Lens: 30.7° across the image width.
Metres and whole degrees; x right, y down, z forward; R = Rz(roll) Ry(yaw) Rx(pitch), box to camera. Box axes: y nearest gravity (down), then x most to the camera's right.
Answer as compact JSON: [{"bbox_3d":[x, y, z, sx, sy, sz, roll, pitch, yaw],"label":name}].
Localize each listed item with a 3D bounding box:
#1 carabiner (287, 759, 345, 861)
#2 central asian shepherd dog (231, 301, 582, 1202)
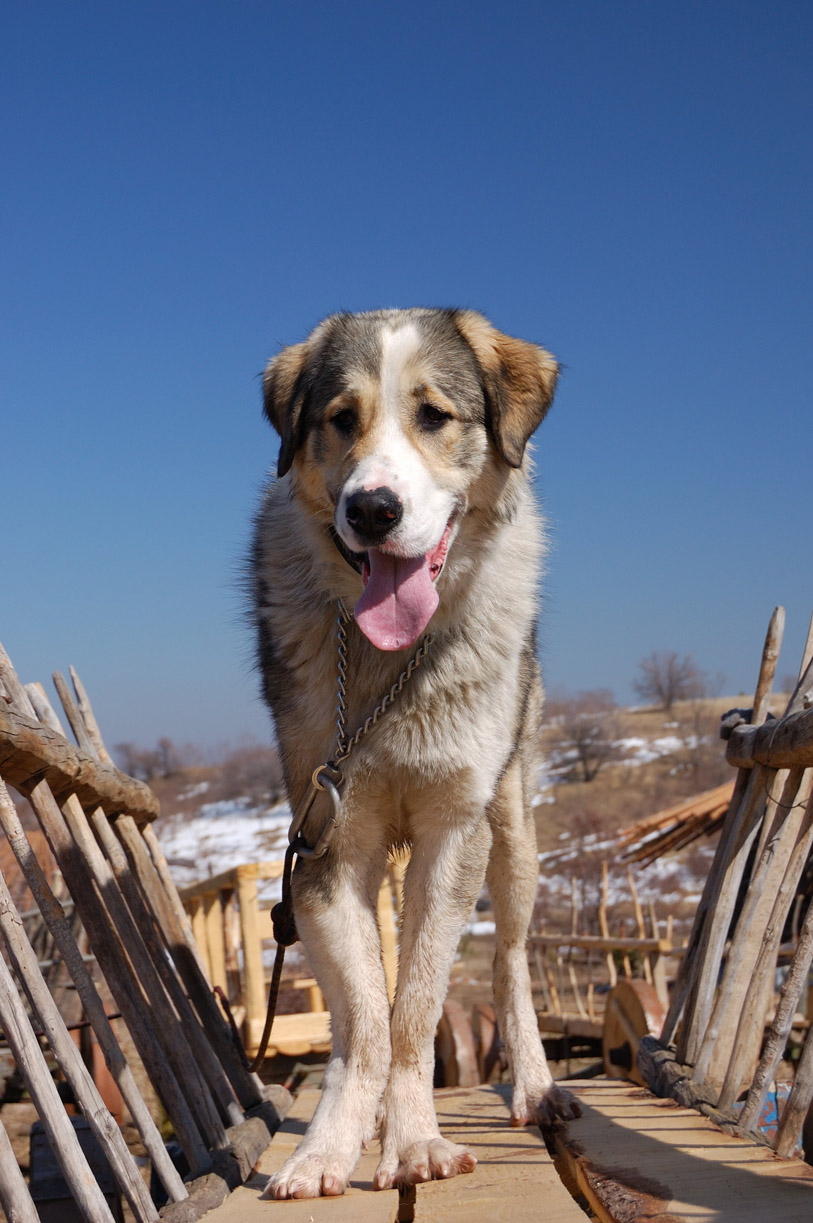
[{"bbox_3d":[-0.264,0.640,4.740,0.194,0.313,0.070,22,14,28],"label":"carabiner"},{"bbox_3d":[0.007,0.355,4.984,1.014,2.914,1.349,1,-11,28],"label":"central asian shepherd dog"}]
